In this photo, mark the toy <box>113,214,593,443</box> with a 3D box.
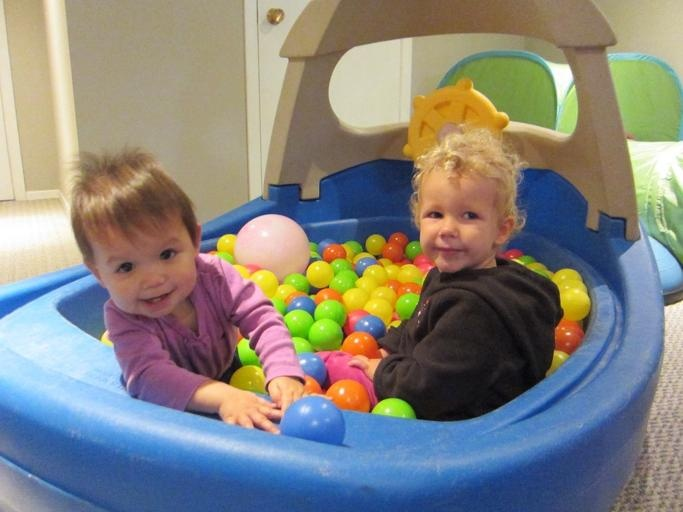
[{"bbox_3d":[-0.153,0.164,1.375,0.648,0.207,0.518,0,17,-32],"label":"toy"}]
